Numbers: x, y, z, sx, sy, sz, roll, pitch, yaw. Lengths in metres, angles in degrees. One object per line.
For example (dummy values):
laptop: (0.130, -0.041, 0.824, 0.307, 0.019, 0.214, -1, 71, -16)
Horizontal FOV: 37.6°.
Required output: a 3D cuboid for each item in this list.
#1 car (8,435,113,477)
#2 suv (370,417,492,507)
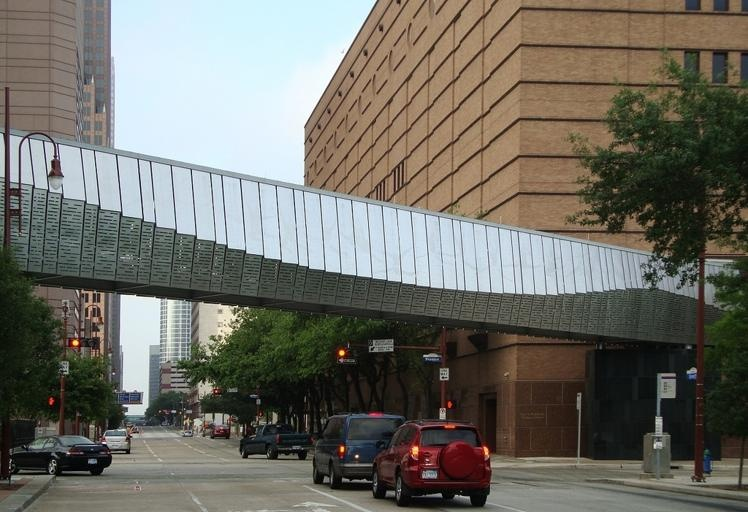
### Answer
car: (-15.576, 9.718, 53.713, 5.732, 1.852, 2.599, -7, -11, 38)
suv: (2.222, 7.579, 39.897, 3.588, 3.013, 6.405, -1, -27, 0)
